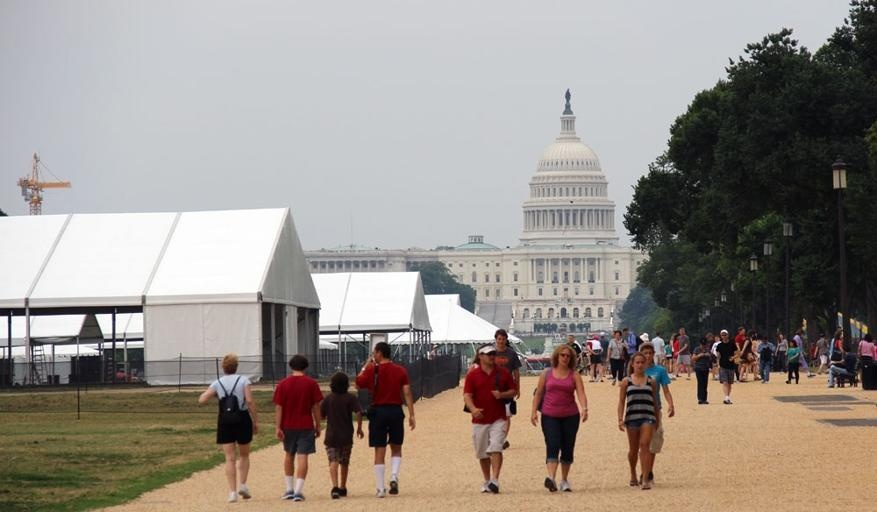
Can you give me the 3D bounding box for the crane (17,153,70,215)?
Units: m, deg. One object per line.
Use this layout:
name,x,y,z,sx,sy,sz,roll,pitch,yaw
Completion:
crane,-39.985,-7.035,196.603,5.550,6.138,4.001,1,5,4
